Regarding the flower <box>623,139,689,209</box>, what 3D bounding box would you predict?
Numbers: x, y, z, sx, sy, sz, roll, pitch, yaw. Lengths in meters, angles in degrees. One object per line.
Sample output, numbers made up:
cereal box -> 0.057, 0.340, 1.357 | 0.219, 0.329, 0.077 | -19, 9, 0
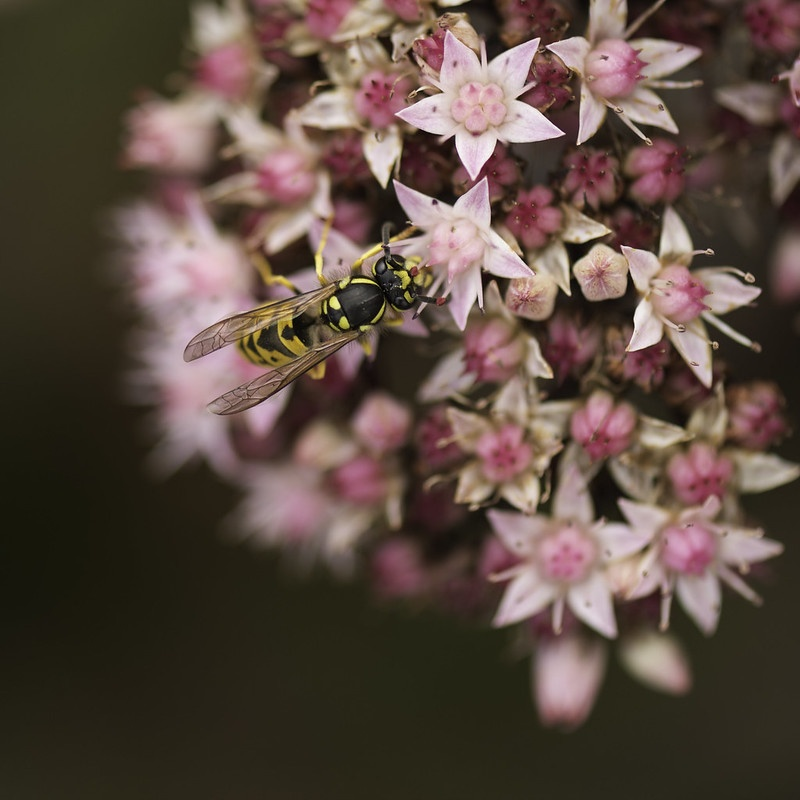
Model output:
flower -> 0.451, -0.408, 1.760 | 0.107, 0.114, 0.089 | 3, -47, 7

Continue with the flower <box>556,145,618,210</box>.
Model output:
flower -> 0.328, -0.384, 1.710 | 0.098, 0.108, 0.080 | 3, -47, 7

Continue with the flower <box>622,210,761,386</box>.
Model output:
flower -> 0.478, -0.168, 1.718 | 0.113, 0.209, 0.226 | -37, -28, 6

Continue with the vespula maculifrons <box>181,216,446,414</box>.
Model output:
vespula maculifrons -> -0.194, -0.136, 1.924 | 0.442, 0.123, 0.249 | -11, -37, 38
